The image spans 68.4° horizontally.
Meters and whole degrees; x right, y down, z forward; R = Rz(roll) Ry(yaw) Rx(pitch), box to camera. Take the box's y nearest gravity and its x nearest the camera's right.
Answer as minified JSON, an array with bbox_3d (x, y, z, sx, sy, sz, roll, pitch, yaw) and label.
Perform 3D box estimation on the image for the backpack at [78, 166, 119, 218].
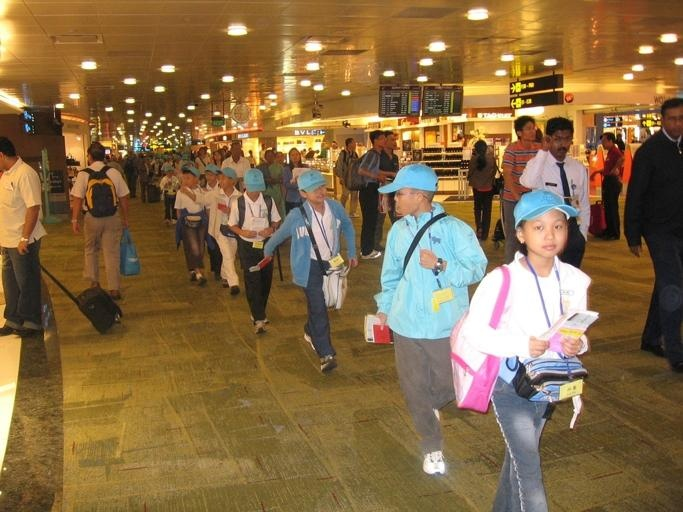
[{"bbox_3d":[-3.623,-0.946,7.611,0.518,0.850,0.493,-7,-6,-20],"label":"backpack"}]

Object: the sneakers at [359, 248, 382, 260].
[{"bbox_3d":[0.627,-0.040,10.291,0.383,0.180,0.175,-5,16,-17],"label":"sneakers"}]

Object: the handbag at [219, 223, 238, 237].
[{"bbox_3d":[-1.554,-0.358,6.951,0.173,0.134,0.171,12,15,3],"label":"handbag"}]

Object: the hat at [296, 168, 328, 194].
[{"bbox_3d":[-0.299,-0.710,4.793,0.231,0.159,0.315,-14,11,-16],"label":"hat"}]

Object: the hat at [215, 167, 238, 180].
[{"bbox_3d":[-1.727,-1.208,7.624,0.263,0.146,0.196,33,-2,-36],"label":"hat"}]

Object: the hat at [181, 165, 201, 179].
[{"bbox_3d":[-2.662,-1.503,8.793,0.230,0.099,0.322,17,9,-42],"label":"hat"}]

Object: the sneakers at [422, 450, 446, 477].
[{"bbox_3d":[0.589,1.273,3.118,0.145,0.197,0.097,-2,10,1],"label":"sneakers"}]

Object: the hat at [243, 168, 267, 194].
[{"bbox_3d":[-1.104,-0.939,6.304,0.241,0.185,0.373,-6,31,-20],"label":"hat"}]

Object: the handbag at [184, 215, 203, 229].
[{"bbox_3d":[-2.594,-0.614,8.760,0.202,0.251,0.269,3,17,-8],"label":"handbag"}]

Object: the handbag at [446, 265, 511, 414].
[{"bbox_3d":[0.612,0.382,2.273,0.292,0.690,0.239,5,12,32],"label":"handbag"}]

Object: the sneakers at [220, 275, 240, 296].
[{"bbox_3d":[-1.780,0.514,8.131,0.164,0.212,0.492,-27,-2,-11],"label":"sneakers"}]

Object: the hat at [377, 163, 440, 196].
[{"bbox_3d":[0.441,-0.467,3.026,0.279,0.143,0.184,5,13,7],"label":"hat"}]

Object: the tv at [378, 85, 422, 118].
[{"bbox_3d":[1.926,-4.987,16.192,1.041,0.790,0.152,0,2,-5],"label":"tv"}]

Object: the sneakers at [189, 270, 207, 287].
[{"bbox_3d":[-2.475,0.396,8.669,0.155,0.214,0.465,-8,-4,-23],"label":"sneakers"}]

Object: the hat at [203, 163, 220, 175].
[{"bbox_3d":[-2.182,-1.492,8.570,0.231,0.174,0.329,5,20,5],"label":"hat"}]

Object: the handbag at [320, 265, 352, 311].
[{"bbox_3d":[-0.059,0.291,5.018,0.212,0.410,0.372,1,11,3],"label":"handbag"}]

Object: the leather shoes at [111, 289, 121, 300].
[{"bbox_3d":[-3.446,0.605,7.669,0.080,0.094,0.240,-3,52,-16],"label":"leather shoes"}]
